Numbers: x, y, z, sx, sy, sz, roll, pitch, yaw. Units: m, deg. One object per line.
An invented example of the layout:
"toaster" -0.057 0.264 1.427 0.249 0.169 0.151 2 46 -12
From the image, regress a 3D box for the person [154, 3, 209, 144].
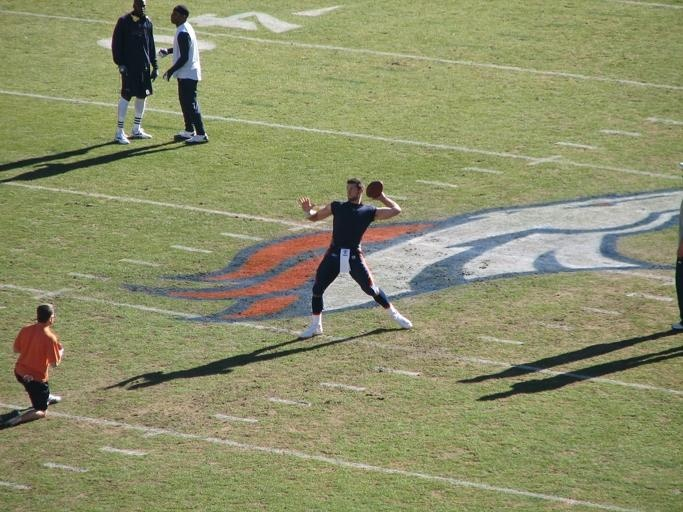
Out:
"person" -2.970 -3.448 24.667 0.786 2.782 0.687 0 27 -5

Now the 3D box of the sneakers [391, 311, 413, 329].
"sneakers" 0.917 0.965 19.250 0.423 0.127 0.198 23 12 -38

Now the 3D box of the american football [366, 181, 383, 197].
"american football" 0.550 -0.972 18.850 0.342 0.200 0.065 14 2 21

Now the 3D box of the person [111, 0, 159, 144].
"person" -3.967 -3.524 24.616 0.836 2.859 0.683 -1 27 -7

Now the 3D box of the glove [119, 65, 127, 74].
"glove" -4.131 -3.527 24.303 0.129 0.192 0.156 1 22 -2

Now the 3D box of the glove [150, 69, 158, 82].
"glove" -3.566 -3.460 24.421 0.116 0.220 0.327 -4 19 -13

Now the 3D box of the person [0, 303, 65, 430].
"person" -4.141 1.456 17.100 0.741 1.585 0.856 2 24 0
